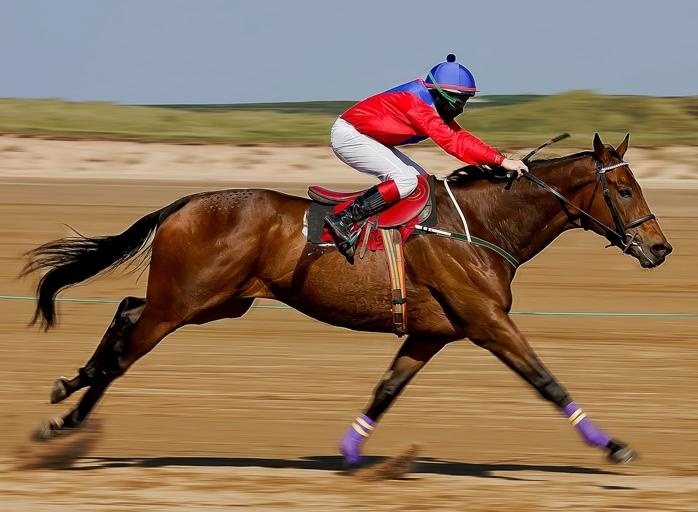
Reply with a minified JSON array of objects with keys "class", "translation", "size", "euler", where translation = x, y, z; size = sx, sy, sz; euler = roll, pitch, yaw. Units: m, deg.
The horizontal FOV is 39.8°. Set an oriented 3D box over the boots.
[{"class":"boots","translation":[0.027,-0.230,6.523],"size":[0.270,0.486,0.195],"euler":[22,10,-35]}]
